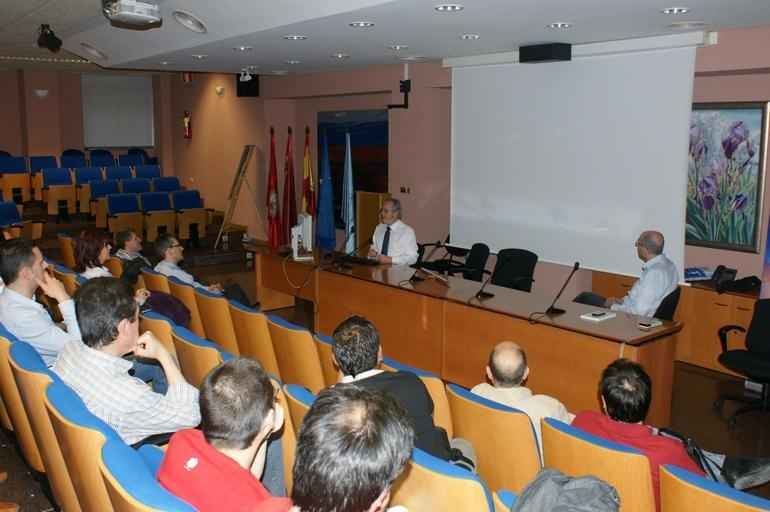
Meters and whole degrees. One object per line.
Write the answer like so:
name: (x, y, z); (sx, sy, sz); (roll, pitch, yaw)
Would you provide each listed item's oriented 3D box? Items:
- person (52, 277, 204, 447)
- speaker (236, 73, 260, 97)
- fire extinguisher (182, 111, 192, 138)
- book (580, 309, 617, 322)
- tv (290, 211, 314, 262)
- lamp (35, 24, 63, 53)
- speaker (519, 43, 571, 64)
person: (-1.536, 0.640, 3.188); (0.464, 0.921, 0.506); (27, 37, 25)
speaker: (-2.706, -3.381, 10.583); (0.622, 0.420, 0.297); (12, 14, 44)
fire extinguisher: (-4.753, -3.166, 12.916); (0.135, 0.634, 0.404); (-4, 12, -31)
book: (1.864, 0.520, 4.707); (0.193, 0.034, 0.135); (-10, 13, -37)
tv: (-1.085, -0.251, 6.930); (0.344, 0.714, 0.689); (-3, 8, -17)
lamp: (-5.142, -3.352, 8.251); (0.269, 0.351, 0.523); (-3, 11, -27)
speaker: (1.898, -2.420, 6.409); (0.557, 0.195, 0.385); (11, 12, 38)
